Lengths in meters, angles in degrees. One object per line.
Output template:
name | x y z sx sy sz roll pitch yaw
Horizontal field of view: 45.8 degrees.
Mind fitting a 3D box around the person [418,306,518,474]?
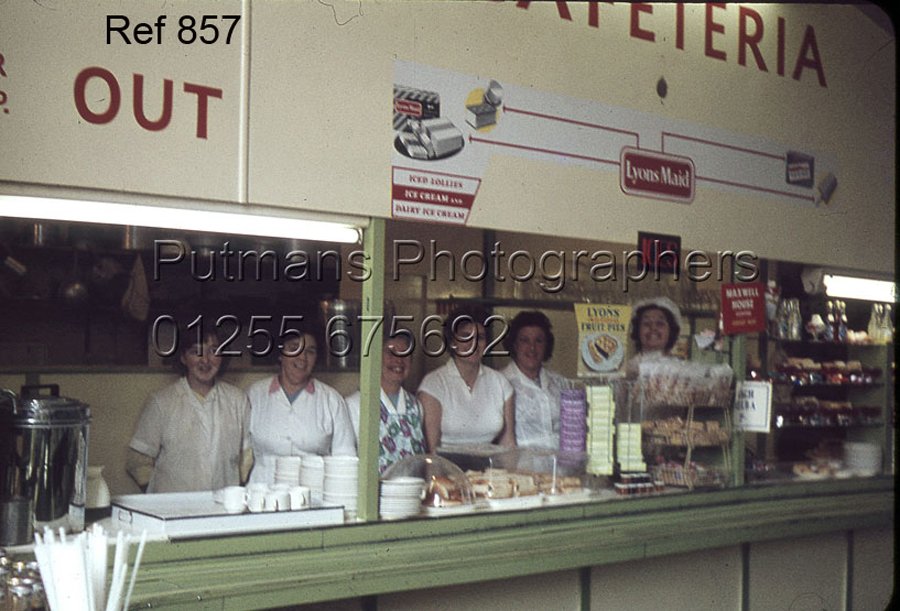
person | 0.121 0.489 6.562 0.617 1.021 0.559 1 -9 -9

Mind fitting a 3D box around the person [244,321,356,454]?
person | -0.935 0.538 6.614 0.646 0.972 0.337 0 -13 -11

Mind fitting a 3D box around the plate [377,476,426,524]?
plate | -0.252 1.047 5.678 0.183 0.160 0.200 2 -7 -3

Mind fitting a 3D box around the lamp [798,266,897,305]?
lamp | 2.929 -0.153 7.725 0.911 0.195 0.472 7 -12 -37

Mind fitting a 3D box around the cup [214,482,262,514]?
cup | -1.138 1.004 5.576 0.193 0.153 0.140 0 -3 8

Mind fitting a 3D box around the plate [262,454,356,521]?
plate | -0.751 0.967 5.696 0.410 0.306 0.275 2 -5 25

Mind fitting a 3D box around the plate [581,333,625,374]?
plate | 0.945 0.299 6.594 0.317 0.231 0.021 5 -10 -28

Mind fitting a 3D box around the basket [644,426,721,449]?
basket | 1.479 0.829 6.703 0.518 0.137 0.093 3 -10 -20

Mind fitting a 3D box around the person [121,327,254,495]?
person | -1.592 0.727 6.637 0.689 1.304 0.470 1 17 -17

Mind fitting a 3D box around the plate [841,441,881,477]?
plate | 2.912 1.078 7.507 0.207 0.247 0.213 4 -5 -4

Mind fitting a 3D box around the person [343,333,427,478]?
person | -0.371 0.571 6.291 0.487 0.859 0.892 0 -9 -5

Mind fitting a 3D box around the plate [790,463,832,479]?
plate | 2.408 1.112 7.122 0.205 0.121 0.444 -8 -12 37

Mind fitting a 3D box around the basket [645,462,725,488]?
basket | 1.474 1.056 6.605 0.497 0.158 0.140 4 -10 -23
